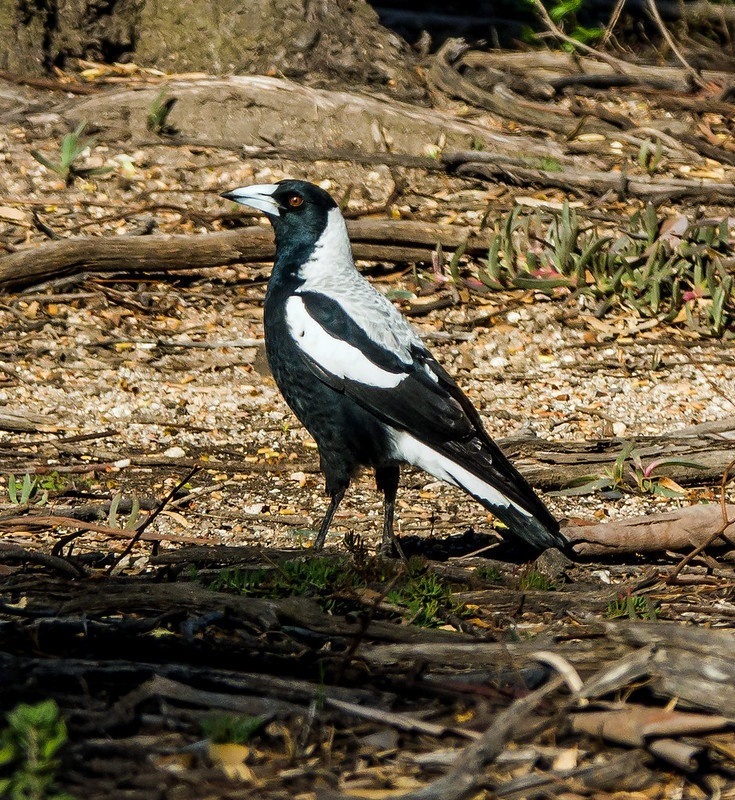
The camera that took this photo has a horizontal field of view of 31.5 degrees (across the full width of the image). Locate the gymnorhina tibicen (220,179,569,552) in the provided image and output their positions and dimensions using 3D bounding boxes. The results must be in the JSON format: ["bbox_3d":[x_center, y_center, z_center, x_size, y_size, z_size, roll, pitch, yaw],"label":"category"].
[{"bbox_3d":[0.080,-0.119,4.496,0.707,1.167,1.442,0,17,-27],"label":"gymnorhina tibicen"}]
